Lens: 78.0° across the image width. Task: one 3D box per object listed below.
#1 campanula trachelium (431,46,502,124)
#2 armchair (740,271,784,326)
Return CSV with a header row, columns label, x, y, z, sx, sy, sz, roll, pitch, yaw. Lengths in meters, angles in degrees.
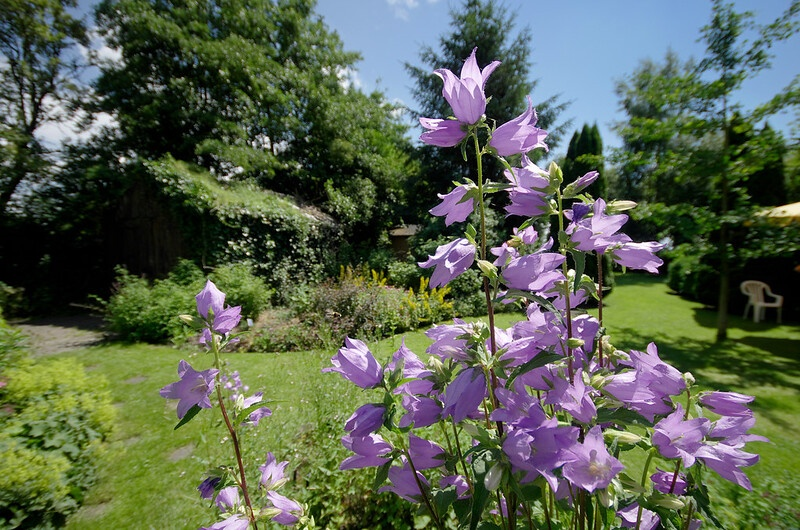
label,x,y,z,sx,sy,sz,roll,pitch,yaw
campanula trachelium,1.057,-2.786,8.162,1.018,1.033,1.137,-1,-5,8
armchair,10.468,1.016,14.430,0.967,1.167,1.013,3,1,43
